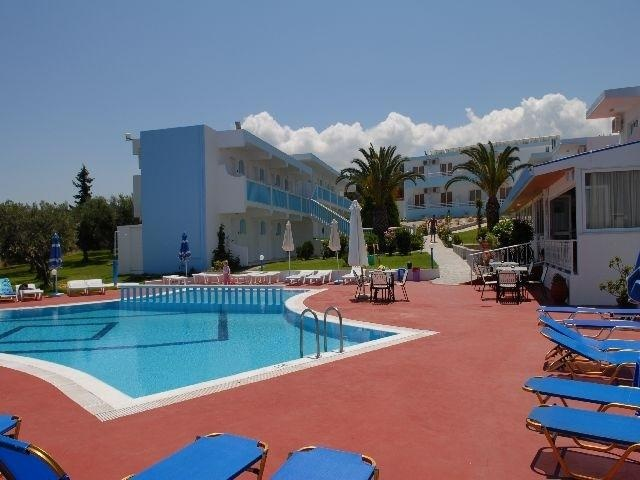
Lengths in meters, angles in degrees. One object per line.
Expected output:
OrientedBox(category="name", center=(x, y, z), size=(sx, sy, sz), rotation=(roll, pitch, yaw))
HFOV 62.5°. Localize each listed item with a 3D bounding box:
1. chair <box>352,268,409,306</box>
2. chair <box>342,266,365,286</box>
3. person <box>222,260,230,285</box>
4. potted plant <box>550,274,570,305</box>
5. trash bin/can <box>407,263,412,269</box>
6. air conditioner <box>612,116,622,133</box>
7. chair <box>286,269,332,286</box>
OrientedBox(category="chair", center=(1.902, 1.586, 18.129), size=(1.297, 0.798, 1.425), rotation=(-1, 1, 22))
OrientedBox(category="chair", center=(1.433, 1.613, 23.740), size=(0.668, 0.785, 1.071), rotation=(-2, -4, 22))
OrientedBox(category="person", center=(-4.441, 1.538, 24.915), size=(0.368, 1.092, 1.012), rotation=(-3, -1, -10))
OrientedBox(category="potted plant", center=(7.260, 1.487, 15.996), size=(0.496, 0.926, 0.462), rotation=(-4, -1, 27))
OrientedBox(category="trash bin/can", center=(4.393, 1.235, 25.961), size=(0.248, 0.323, 0.276), rotation=(-1, 4, -2))
OrientedBox(category="air conditioner", center=(13.135, -5.076, 23.360), size=(0.431, 0.754, 1.487), rotation=(-4, -1, 30))
OrientedBox(category="chair", center=(-0.497, 1.771, 24.917), size=(2.117, 0.690, 1.076), rotation=(-5, -1, -2))
